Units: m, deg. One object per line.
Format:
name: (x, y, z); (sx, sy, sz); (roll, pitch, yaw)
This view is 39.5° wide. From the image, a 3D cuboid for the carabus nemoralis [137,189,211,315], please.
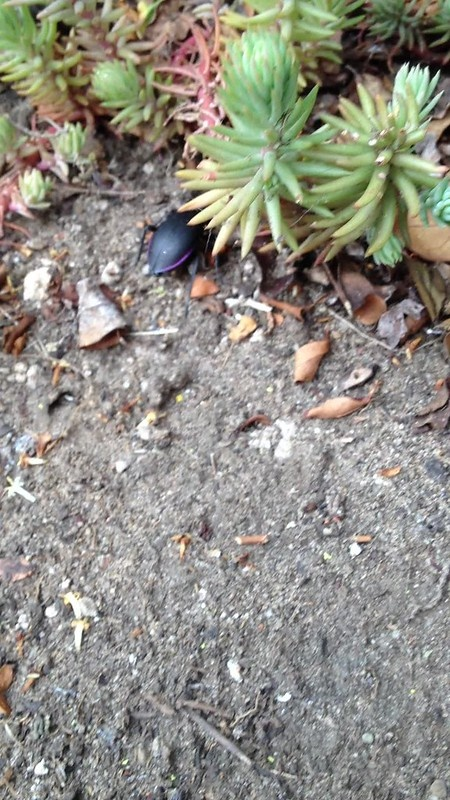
carabus nemoralis: (-0.132, -0.381, 1.638); (0.150, 0.282, 0.096); (15, 8, 10)
